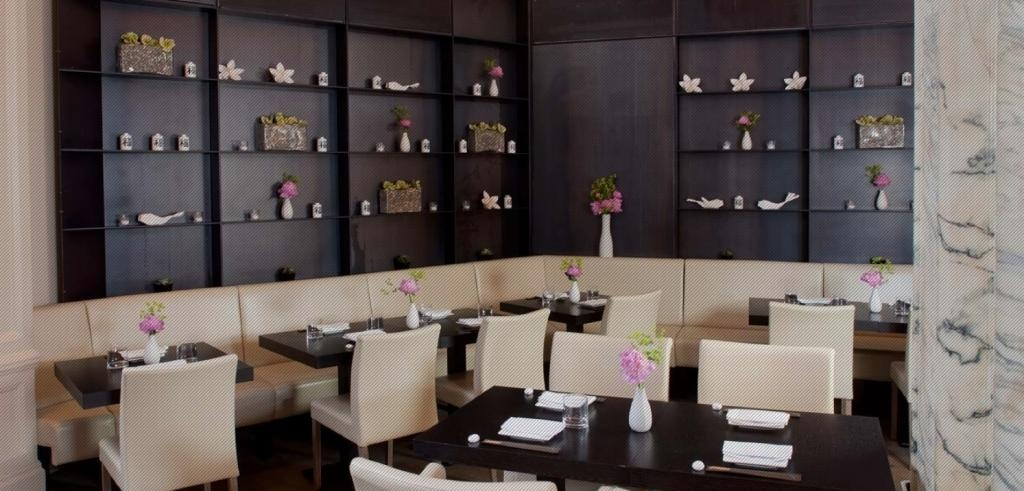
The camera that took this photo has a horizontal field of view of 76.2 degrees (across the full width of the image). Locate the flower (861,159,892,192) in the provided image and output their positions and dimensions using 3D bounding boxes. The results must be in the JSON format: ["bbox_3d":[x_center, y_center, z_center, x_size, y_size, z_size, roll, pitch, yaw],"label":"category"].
[{"bbox_3d":[4.377,-0.806,7.763,0.286,0.300,0.315,2,6,17],"label":"flower"}]

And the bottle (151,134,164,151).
[{"bbox_3d":[-3.735,-1.082,6.876,0.135,0.188,0.173,-3,6,-27],"label":"bottle"}]

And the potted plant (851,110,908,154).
[{"bbox_3d":[4.370,-1.319,7.775,0.818,0.495,0.399,-1,-2,25],"label":"potted plant"}]

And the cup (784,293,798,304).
[{"bbox_3d":[2.975,0.574,6.938,0.113,0.096,0.113,1,5,0],"label":"cup"}]

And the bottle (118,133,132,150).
[{"bbox_3d":[-4.000,-1.069,6.760,0.139,0.193,0.161,-3,6,-29],"label":"bottle"}]

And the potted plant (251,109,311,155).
[{"bbox_3d":[-2.595,-1.274,7.386,0.547,0.445,0.238,-2,6,-19],"label":"potted plant"}]

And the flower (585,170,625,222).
[{"bbox_3d":[1.184,-0.610,8.257,0.493,0.463,0.234,-1,2,3],"label":"flower"}]

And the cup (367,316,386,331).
[{"bbox_3d":[-1.344,0.784,6.438,0.146,0.093,0.129,-1,-6,8],"label":"cup"}]

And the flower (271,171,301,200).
[{"bbox_3d":[-2.559,-0.645,7.402,0.313,0.271,0.070,13,0,-21],"label":"flower"}]

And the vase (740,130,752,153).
[{"bbox_3d":[2.914,-1.290,8.102,0.144,0.247,0.187,2,6,18],"label":"vase"}]

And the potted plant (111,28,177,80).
[{"bbox_3d":[-3.811,-1.911,6.899,0.824,0.515,0.444,-4,6,-42],"label":"potted plant"}]

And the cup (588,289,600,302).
[{"bbox_3d":[0.930,0.576,7.335,0.106,0.092,0.100,-2,-3,0],"label":"cup"}]

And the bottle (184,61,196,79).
[{"bbox_3d":[-3.422,-1.860,6.954,0.127,0.203,0.184,-2,6,-24],"label":"bottle"}]

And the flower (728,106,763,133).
[{"bbox_3d":[2.905,-1.543,8.088,0.314,0.191,0.312,7,21,40],"label":"flower"}]

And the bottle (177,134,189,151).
[{"bbox_3d":[-3.517,-1.088,6.981,0.132,0.190,0.183,-3,6,-27],"label":"bottle"}]

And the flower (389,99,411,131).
[{"bbox_3d":[-1.303,-1.563,7.992,0.322,0.207,0.307,-25,43,-23],"label":"flower"}]

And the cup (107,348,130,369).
[{"bbox_3d":[-3.406,0.989,5.638,0.192,0.160,0.149,2,-3,-28],"label":"cup"}]

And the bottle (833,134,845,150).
[{"bbox_3d":[3.947,-1.235,7.888,0.136,0.176,0.174,3,6,24],"label":"bottle"}]

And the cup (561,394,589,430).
[{"bbox_3d":[0.457,1.196,4.746,0.242,0.230,0.222,-1,3,0],"label":"cup"}]

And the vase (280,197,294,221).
[{"bbox_3d":[-2.570,-0.410,7.453,0.142,0.237,0.170,-2,6,-17],"label":"vase"}]

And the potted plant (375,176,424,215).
[{"bbox_3d":[-1.400,-0.595,7.959,0.569,0.360,0.180,-1,-1,-37],"label":"potted plant"}]
